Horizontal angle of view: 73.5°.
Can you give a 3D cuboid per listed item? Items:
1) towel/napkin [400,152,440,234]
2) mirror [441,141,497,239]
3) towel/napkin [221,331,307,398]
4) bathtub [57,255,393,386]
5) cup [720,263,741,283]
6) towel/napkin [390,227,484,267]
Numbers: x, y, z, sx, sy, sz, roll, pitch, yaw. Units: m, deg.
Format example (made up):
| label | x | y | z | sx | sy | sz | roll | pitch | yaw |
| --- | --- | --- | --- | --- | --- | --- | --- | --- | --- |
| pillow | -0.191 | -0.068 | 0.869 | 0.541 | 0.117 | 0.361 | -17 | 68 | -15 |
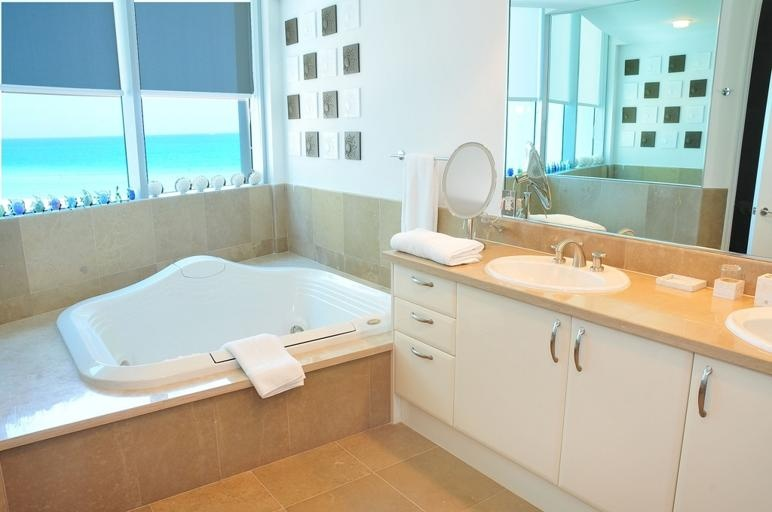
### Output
| label | x | y | z | sx | sy | sz | roll | pitch | yaw |
| --- | --- | --- | --- | --- | --- | --- | --- | --- | --- |
| towel/napkin | 0.223 | -0.419 | 3.450 | 0.308 | 0.511 | 0.139 | 12 | 22 | 40 |
| mirror | 0.488 | -0.392 | 3.080 | 0.135 | 0.551 | 0.424 | -11 | 18 | -28 |
| towel/napkin | -0.653 | 0.581 | 2.818 | 0.315 | 0.219 | 0.337 | -14 | 20 | -36 |
| bathtub | -1.127 | 0.421 | 3.525 | 1.789 | 0.606 | 1.282 | -14 | 19 | -36 |
| cup | 1.515 | 0.074 | 2.290 | 0.079 | 0.066 | 0.075 | 1 | 10 | 0 |
| towel/napkin | 0.292 | -0.058 | 2.948 | 0.525 | 0.120 | 0.465 | 0 | 17 | -22 |
